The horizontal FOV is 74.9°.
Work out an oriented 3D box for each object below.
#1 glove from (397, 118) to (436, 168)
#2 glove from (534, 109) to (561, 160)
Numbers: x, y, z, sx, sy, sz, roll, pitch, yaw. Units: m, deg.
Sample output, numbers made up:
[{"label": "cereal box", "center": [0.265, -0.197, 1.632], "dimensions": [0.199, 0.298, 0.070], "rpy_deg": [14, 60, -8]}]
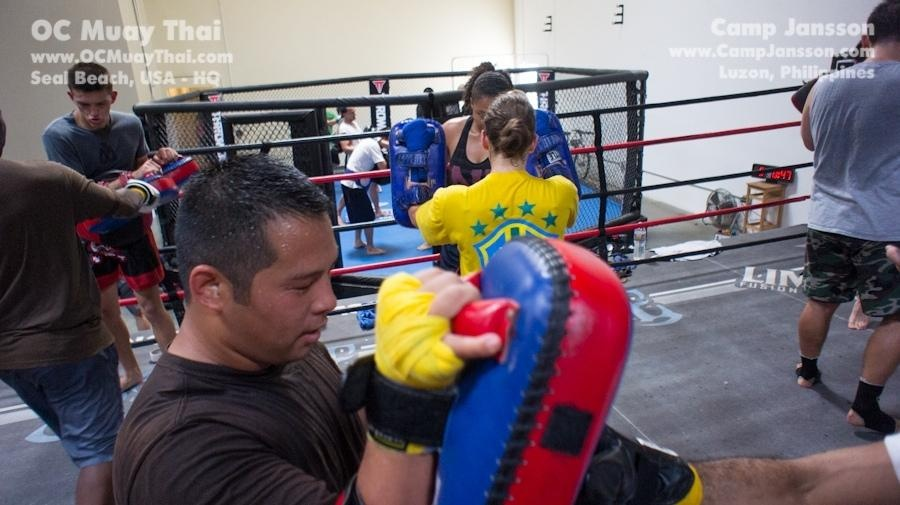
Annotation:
[{"label": "glove", "center": [-0.229, -0.731, 4.031], "dimensions": [0.283, 0.325, 0.144], "rpy_deg": [4, 4, 14]}, {"label": "glove", "center": [0.654, -0.777, 3.932], "dimensions": [0.236, 0.293, 0.105], "rpy_deg": [-2, 0, 2]}]
